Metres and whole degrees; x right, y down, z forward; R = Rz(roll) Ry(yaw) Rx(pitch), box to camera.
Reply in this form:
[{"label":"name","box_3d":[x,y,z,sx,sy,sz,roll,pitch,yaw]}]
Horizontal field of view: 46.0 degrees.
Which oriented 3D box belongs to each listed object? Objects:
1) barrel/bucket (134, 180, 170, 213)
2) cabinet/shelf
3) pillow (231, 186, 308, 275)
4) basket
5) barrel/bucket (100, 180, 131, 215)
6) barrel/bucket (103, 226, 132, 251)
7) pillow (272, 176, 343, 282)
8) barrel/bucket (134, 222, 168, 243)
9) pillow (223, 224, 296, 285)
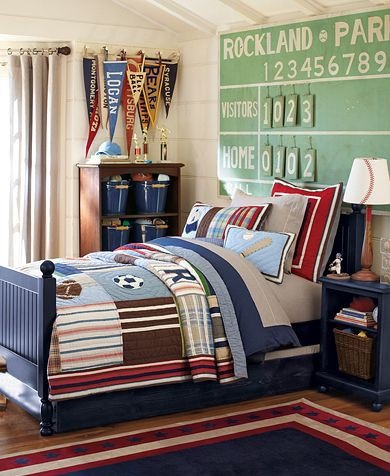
[{"label":"barrel/bucket","box_3d":[-0.382,-0.361,3.964,0.313,0.209,0.296,0,5,0]},{"label":"cabinet/shelf","box_3d":[-0.567,-0.262,3.758,0.942,0.885,0.407,-4,6,-31]},{"label":"pillow","box_3d":[0.497,-0.054,2.726,0.494,0.427,0.145,8,-11,46]},{"label":"basket","box_3d":[0.798,0.550,2.340,0.220,0.224,0.271,2,3,33]},{"label":"barrel/bucket","box_3d":[-0.655,-0.337,3.786,0.288,0.273,0.282,1,-2,0]},{"label":"barrel/bucket","box_3d":[-0.614,-0.009,3.861,0.242,0.222,0.210,0,1,14]},{"label":"pillow","box_3d":[0.720,-0.053,2.685,0.178,0.499,0.578,14,3,-39]},{"label":"barrel/bucket","box_3d":[-0.389,-0.051,4.103,0.236,0.153,0.204,0,0,39]},{"label":"pillow","box_3d":[0.361,0.069,2.502,0.420,0.279,0.110,10,-17,32]}]
